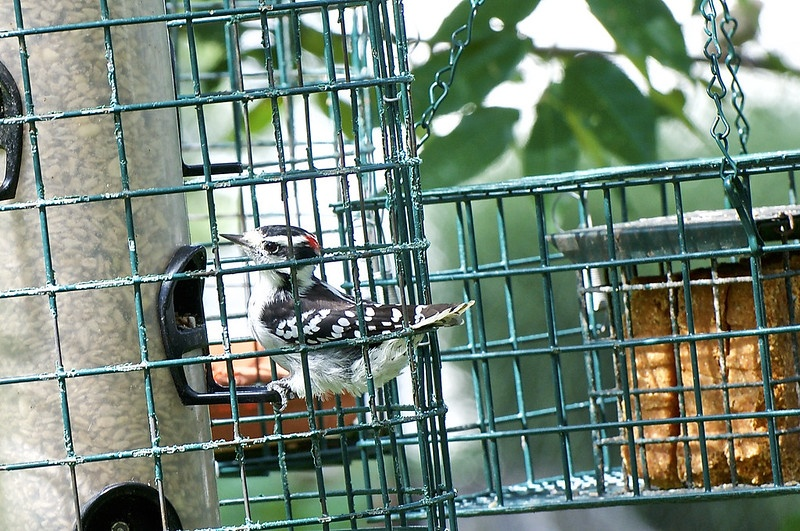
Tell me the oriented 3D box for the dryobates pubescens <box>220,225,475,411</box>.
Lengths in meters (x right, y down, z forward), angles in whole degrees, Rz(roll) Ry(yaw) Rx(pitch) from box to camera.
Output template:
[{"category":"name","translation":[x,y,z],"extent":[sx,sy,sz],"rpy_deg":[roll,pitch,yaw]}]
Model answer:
[{"category":"dryobates pubescens","translation":[-0.218,0.151,5.702],"extent":[0.801,0.696,0.427],"rpy_deg":[-7,-8,19]}]
